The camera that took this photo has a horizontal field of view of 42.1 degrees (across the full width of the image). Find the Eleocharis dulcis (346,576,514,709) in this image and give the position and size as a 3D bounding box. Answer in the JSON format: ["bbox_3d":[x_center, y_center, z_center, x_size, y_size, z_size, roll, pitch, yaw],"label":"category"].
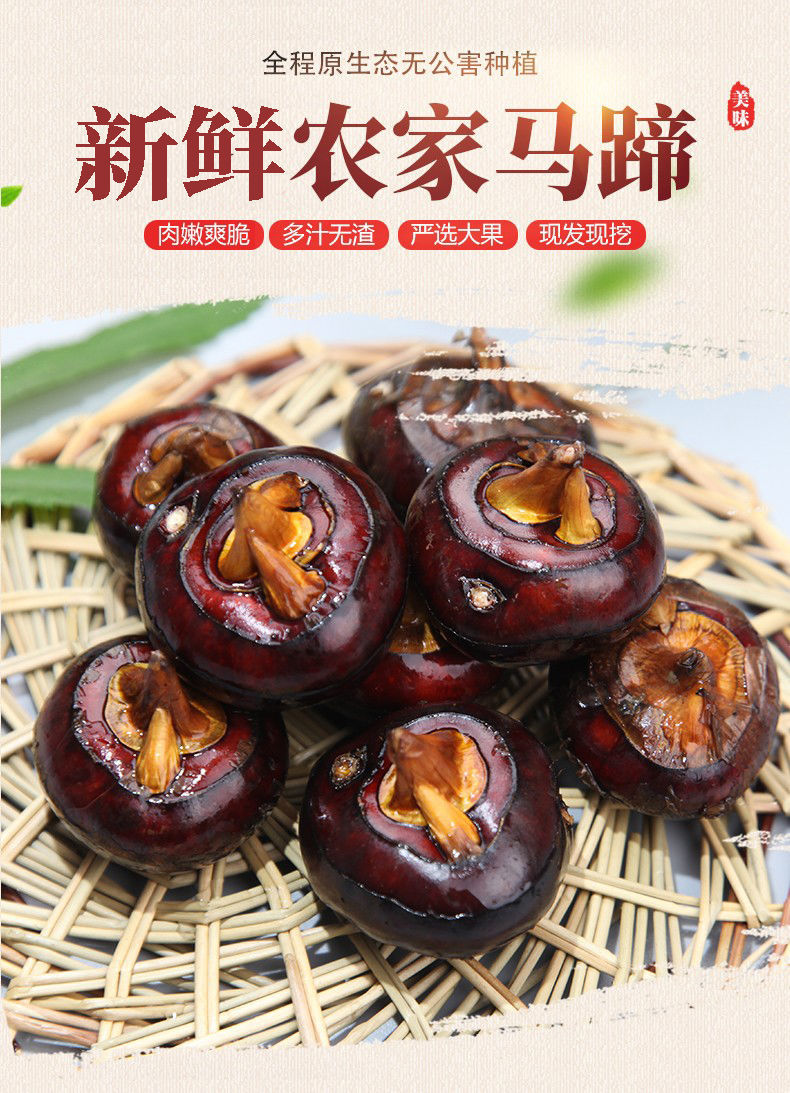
[{"bbox_3d":[0.056,0.187,1.693,0.218,0.212,0.128,1,53,4],"label":"Eleocharis dulcis"}]

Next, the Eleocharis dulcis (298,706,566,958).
[{"bbox_3d":[0.057,0.395,1.497,0.397,0.340,0.293,-4,23,-7],"label":"Eleocharis dulcis"}]

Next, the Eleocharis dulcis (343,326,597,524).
[{"bbox_3d":[0.125,-0.201,2.106,0.401,0.365,0.362,-3,51,-10],"label":"Eleocharis dulcis"}]

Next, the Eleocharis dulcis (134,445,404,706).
[{"bbox_3d":[-0.163,0.050,1.603,0.401,0.358,0.356,-6,66,-2],"label":"Eleocharis dulcis"}]
